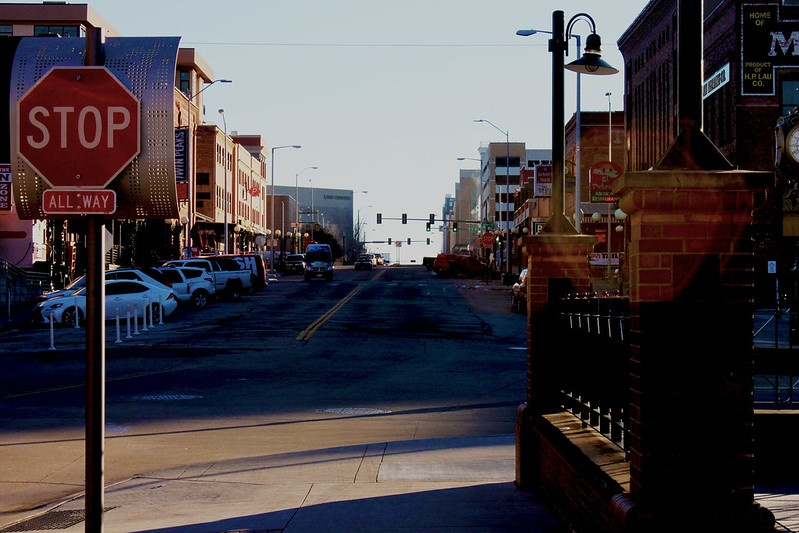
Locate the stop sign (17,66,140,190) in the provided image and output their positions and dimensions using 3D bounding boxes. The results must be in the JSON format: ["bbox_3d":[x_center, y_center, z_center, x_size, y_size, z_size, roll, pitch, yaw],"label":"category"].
[{"bbox_3d":[-3.113,-1.321,11.082,1.271,1.226,0.101,0,2,2],"label":"stop sign"}]

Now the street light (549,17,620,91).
[{"bbox_3d":[2.749,-3.155,17.187,1.106,1.260,0.907,4,17,8],"label":"street light"}]

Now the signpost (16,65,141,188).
[{"bbox_3d":[-3.116,-1.328,11.084,1.250,1.212,0.091,0,3,3],"label":"signpost"}]

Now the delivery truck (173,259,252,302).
[{"bbox_3d":[-6.896,0.387,44.429,1.157,0.960,2.592,-2,-5,37],"label":"delivery truck"}]

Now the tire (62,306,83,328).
[{"bbox_3d":[-9.262,1.422,32.239,0.563,0.616,1.062,-2,2,-17],"label":"tire"}]

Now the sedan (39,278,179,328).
[{"bbox_3d":[-7.495,0.993,29.724,3.595,1.118,1.494,2,-3,-28],"label":"sedan"}]

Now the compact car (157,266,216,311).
[{"bbox_3d":[-7.597,0.690,40.528,2.079,0.887,1.100,5,-4,-31],"label":"compact car"}]

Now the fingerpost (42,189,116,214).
[{"bbox_3d":[-3.116,-0.623,11.067,0.703,0.258,0.054,-2,2,1],"label":"fingerpost"}]

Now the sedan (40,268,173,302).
[{"bbox_3d":[-8.058,0.519,31.846,2.488,0.819,1.046,0,-2,-15],"label":"sedan"}]
